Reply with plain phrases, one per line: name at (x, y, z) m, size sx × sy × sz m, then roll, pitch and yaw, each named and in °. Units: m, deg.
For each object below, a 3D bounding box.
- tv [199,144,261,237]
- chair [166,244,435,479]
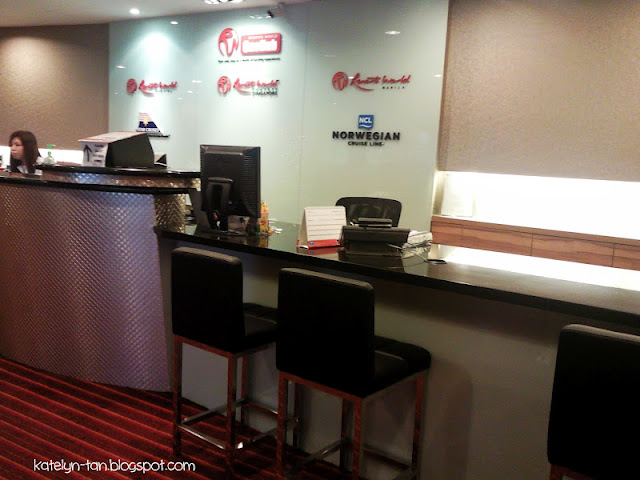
tv at (-0.595, -0.328, 3.401) m, size 0.554 × 0.554 × 0.189 m, roll 7°, pitch 12°, yaw 34°
chair at (-0.066, 0.652, 2.740) m, size 1.190 × 1.067 × 0.505 m, roll 7°, pitch 11°, yaw 38°
